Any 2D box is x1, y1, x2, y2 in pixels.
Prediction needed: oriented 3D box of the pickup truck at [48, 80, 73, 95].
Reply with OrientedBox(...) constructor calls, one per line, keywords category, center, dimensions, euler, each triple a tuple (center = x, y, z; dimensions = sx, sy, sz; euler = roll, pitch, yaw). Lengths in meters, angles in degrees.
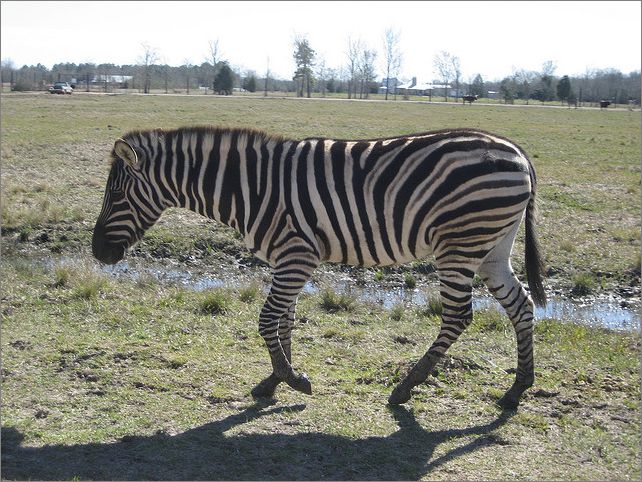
OrientedBox(category="pickup truck", center=(-16.984, -9.946, 52.592), dimensions=(1.535, 0.849, 2.418), euler=(-2, 15, -10))
